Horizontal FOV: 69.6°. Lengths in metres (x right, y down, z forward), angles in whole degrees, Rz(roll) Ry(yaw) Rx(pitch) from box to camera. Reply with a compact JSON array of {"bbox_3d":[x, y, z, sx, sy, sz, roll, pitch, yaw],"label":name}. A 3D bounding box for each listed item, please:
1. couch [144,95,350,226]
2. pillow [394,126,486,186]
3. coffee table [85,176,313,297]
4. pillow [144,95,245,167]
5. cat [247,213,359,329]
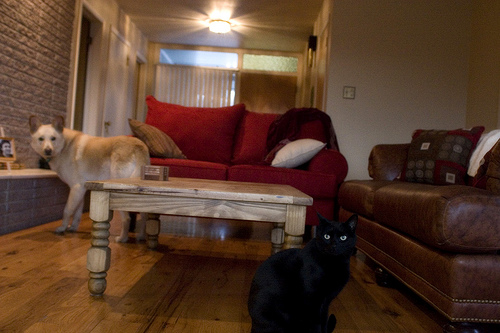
[{"bbox_3d":[-0.192,-0.012,3.657,2.197,1.264,1.154,4,6,1],"label":"couch"},{"bbox_3d":[1.507,-0.094,2.841,0.174,0.530,0.565,25,-12,-33],"label":"pillow"},{"bbox_3d":[-0.275,0.423,2.246,1.232,0.674,0.724,6,9,10],"label":"coffee table"},{"bbox_3d":[-0.713,-0.369,3.988,1.048,0.714,0.366,9,-13,15],"label":"pillow"},{"bbox_3d":[0.255,0.549,2.007,0.657,0.698,0.403,0,-4,4],"label":"cat"}]
